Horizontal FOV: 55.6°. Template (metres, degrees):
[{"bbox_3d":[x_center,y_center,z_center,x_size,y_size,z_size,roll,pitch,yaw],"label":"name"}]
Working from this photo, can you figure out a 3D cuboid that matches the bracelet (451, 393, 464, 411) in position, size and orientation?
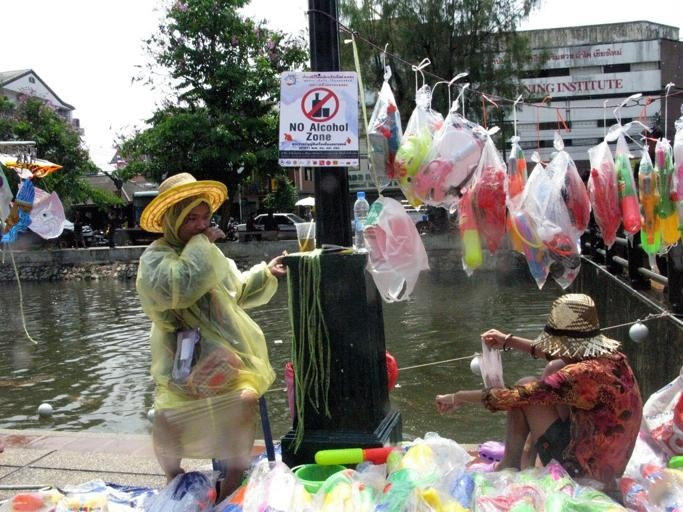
[{"bbox_3d":[0.704,0.880,3.934,0.060,0.087,0.020,4,1,-28],"label":"bracelet"}]

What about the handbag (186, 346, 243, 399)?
[{"bbox_3d":[-0.798,0.748,4.031,0.320,0.261,0.100,-11,13,-20],"label":"handbag"}]

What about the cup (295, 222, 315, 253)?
[{"bbox_3d":[-0.244,-0.140,4.534,0.133,0.193,0.187,-4,7,-4],"label":"cup"}]

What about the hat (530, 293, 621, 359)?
[{"bbox_3d":[1.468,0.399,4.040,0.497,0.365,0.522,-2,5,-10],"label":"hat"}]

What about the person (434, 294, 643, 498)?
[{"bbox_3d":[1.317,0.967,4.185,1.190,1.455,0.909,4,9,34],"label":"person"}]

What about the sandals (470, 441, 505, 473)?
[{"bbox_3d":[1.007,1.339,4.355,0.162,0.249,0.077,2,-12,39],"label":"sandals"}]

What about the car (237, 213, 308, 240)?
[{"bbox_3d":[-2.539,-1.043,23.151,2.973,1.173,1.460,-2,4,6],"label":"car"}]

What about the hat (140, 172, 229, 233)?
[{"bbox_3d":[-1.101,-0.412,4.167,0.544,0.171,0.567,-29,9,-6],"label":"hat"}]
